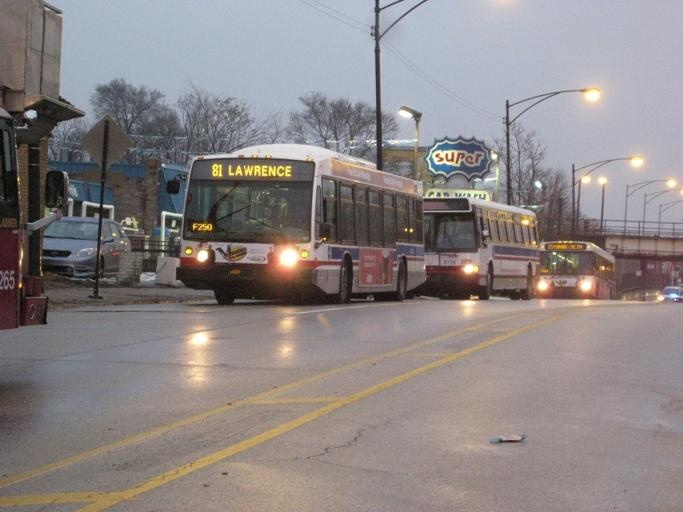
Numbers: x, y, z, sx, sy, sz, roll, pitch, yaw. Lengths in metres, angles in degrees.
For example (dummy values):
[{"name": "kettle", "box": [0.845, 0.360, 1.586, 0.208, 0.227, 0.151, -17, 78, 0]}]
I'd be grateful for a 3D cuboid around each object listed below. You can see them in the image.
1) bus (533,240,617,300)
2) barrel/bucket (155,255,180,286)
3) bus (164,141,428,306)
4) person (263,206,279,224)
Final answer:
[{"name": "bus", "box": [19.416, 1.127, 55.561, 3.853, 4.626, 14.507, 0, -4, 17]}, {"name": "barrel/bucket", "box": [-6.647, 0.583, 25.536, 0.687, 1.090, 1.004, -1, -5, 27]}, {"name": "bus", "box": [-0.120, -0.986, 23.190, 4.117, 3.406, 11.427, 2, 0, 36]}, {"name": "person", "box": [-1.993, -1.216, 19.617, 0.432, 0.495, 0.821, 5, 5, 9]}]
